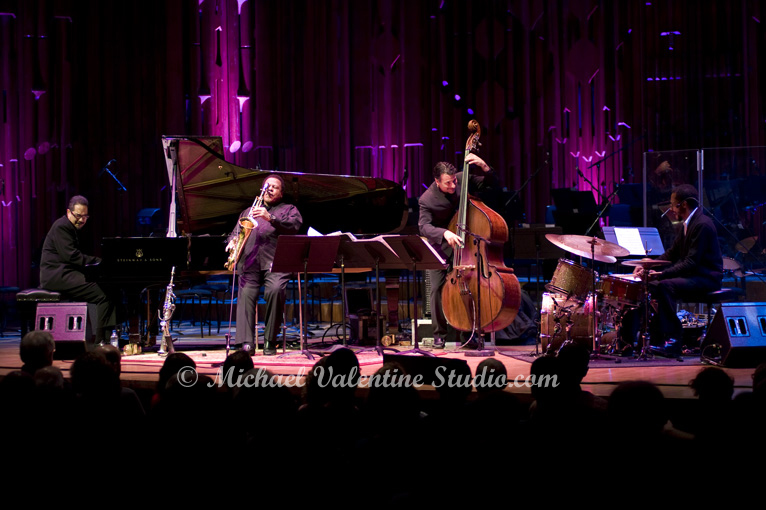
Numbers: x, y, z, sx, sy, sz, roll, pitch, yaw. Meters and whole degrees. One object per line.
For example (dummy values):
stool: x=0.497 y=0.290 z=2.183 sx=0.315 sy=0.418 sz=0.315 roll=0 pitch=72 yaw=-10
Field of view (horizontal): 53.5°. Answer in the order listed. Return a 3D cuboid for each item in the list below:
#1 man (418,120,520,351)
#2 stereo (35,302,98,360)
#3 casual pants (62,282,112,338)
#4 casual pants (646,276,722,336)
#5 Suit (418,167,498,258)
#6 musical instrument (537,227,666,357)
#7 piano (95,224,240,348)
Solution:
man: x=0.985 y=-0.232 z=8.957 sx=0.817 sy=2.700 sz=1.232 roll=1 pitch=-2 yaw=-21
stereo: x=-3.827 y=0.725 z=8.971 sx=0.578 sy=0.567 sz=0.445 roll=-2 pitch=29 yaw=-34
casual pants: x=-3.477 y=0.708 z=9.438 sx=0.706 sy=0.773 sz=0.594 roll=-2 pitch=-2 yaw=9
casual pants: x=3.483 y=0.506 z=8.852 sx=0.622 sy=0.697 sz=0.957 roll=-1 pitch=-3 yaw=3
Suit: x=0.846 y=-0.563 z=9.440 sx=0.692 sy=1.356 sz=0.452 roll=-3 pitch=-2 yaw=33
musical instrument: x=2.340 y=0.447 z=8.512 sx=0.783 sy=1.273 sz=0.758 roll=4 pitch=2 yaw=3
piano: x=-2.836 y=0.534 z=9.836 sx=1.221 sy=1.272 sz=1.780 roll=-5 pitch=-5 yaw=-4
